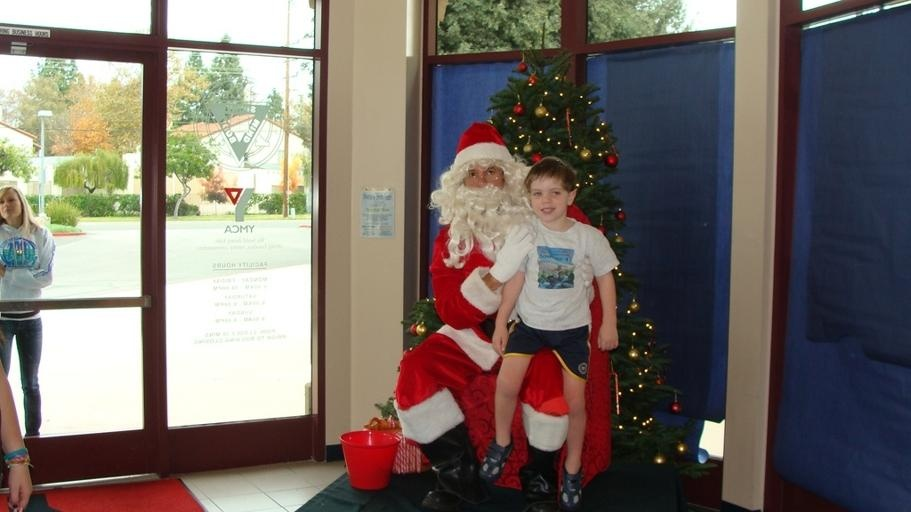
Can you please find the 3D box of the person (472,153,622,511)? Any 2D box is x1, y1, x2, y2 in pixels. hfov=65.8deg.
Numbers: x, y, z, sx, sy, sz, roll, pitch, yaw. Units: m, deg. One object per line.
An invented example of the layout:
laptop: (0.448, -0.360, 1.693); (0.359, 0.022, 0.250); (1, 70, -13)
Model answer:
person: (0.600, 0.498, 4.523); (0.828, 2.194, 0.537); (-1, 9, 14)

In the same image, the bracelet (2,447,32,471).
bracelet: (-2.409, 1.110, 3.889); (0.121, 0.103, 0.140); (-7, -6, 4)

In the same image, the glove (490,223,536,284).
glove: (0.406, -0.001, 4.604); (0.232, 0.392, 0.099); (34, 6, 30)

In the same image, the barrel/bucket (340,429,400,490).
barrel/bucket: (-0.592, 1.478, 5.269); (0.559, 0.415, 0.657); (6, -11, -17)

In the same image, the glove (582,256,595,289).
glove: (0.856, 0.115, 4.625); (0.129, 0.175, 0.062); (2, 9, 45)

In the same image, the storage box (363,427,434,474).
storage box: (-0.408, 1.367, 4.919); (0.402, 0.189, 0.496); (1, -6, 0)

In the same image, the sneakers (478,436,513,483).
sneakers: (0.246, 1.313, 4.566); (0.128, 0.350, 0.140); (28, -1, 8)
